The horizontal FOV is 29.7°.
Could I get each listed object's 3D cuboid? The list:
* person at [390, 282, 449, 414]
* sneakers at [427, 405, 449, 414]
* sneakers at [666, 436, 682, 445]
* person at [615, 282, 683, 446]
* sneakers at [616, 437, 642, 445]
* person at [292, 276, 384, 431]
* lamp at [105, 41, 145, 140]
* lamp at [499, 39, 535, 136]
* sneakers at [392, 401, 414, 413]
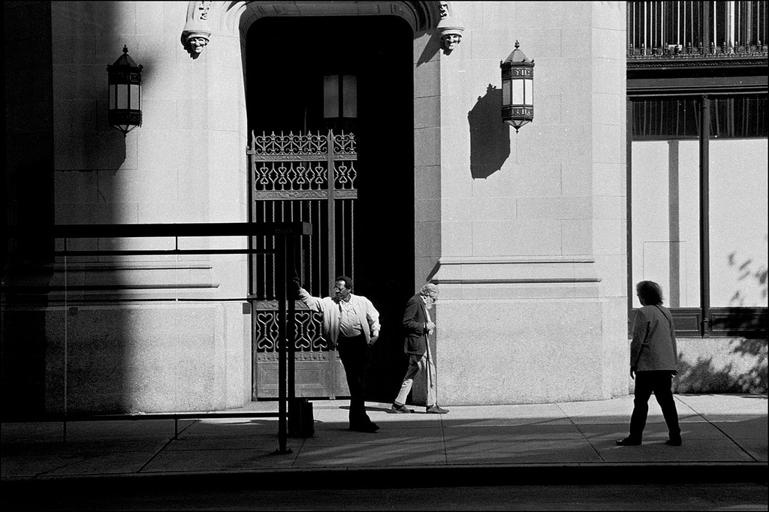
[{"bbox_3d":[0.586,1.557,24.479,0.836,2.172,0.704,0,5,0],"label":"person"},{"bbox_3d":[0.866,2.569,24.291,0.404,0.147,0.135,-1,0,-2],"label":"sneakers"},{"bbox_3d":[4.419,2.822,22.157,0.251,0.130,0.224,1,5,9],"label":"sneakers"},{"bbox_3d":[4.108,1.647,22.234,0.899,2.469,0.589,1,5,9],"label":"person"},{"bbox_3d":[3.744,2.834,22.202,0.391,0.146,0.136,1,-1,1],"label":"sneakers"},{"bbox_3d":[-0.653,1.569,23.370,1.135,2.433,0.662,1,5,1],"label":"person"},{"bbox_3d":[-4.421,-2.789,24.703,0.587,1.516,0.356,0,5,-12],"label":"lamp"},{"bbox_3d":[2.267,-2.894,24.751,0.577,1.538,0.407,1,5,4],"label":"lamp"},{"bbox_3d":[0.302,2.579,24.513,0.377,0.141,0.142,0,2,2],"label":"sneakers"}]
